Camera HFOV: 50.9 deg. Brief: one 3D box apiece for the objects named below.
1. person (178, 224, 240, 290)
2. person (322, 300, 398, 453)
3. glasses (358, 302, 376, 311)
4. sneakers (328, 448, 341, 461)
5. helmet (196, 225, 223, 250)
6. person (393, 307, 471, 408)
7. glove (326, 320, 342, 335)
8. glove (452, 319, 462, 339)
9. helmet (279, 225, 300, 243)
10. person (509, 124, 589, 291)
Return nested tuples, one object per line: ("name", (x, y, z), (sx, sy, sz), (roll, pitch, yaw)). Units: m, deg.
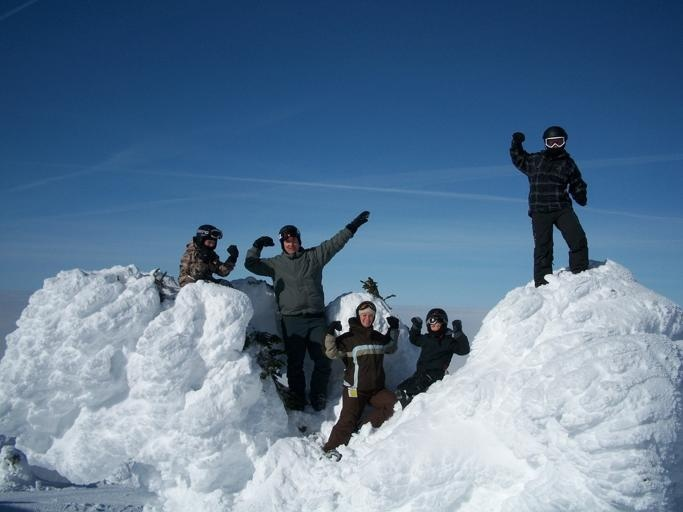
("person", (-2.208, 0.108, 11.792), (1.001, 1.222, 0.818), (2, -4, -8))
("person", (0.278, 1.873, 11.049), (1.142, 2.333, 0.566), (4, -20, 1))
("glasses", (0.376, 0.783, 11.327), (0.144, 0.118, 0.191), (1, 6, -3))
("sneakers", (-0.116, 2.933, 10.583), (0.113, 0.062, 0.158), (-1, 19, -5))
("helmet", (-2.003, -0.281, 10.758), (0.449, 0.466, 0.385), (2, 2, 30))
("person", (1.392, 1.604, 11.101), (1.089, 1.537, 0.599), (1, -20, 10))
("glove", (-0.101, 1.135, 11.153), (0.217, 0.240, 0.256), (-5, -22, 24))
("glove", (1.747, 1.127, 10.988), (0.119, 0.243, 0.267), (13, -22, -23))
("helmet", (-0.800, -0.323, 10.900), (0.275, 0.267, 0.326), (-3, 21, -1))
("person", (3.251, -0.764, 11.255), (1.083, 2.524, 0.900), (-3, -21, 19))
